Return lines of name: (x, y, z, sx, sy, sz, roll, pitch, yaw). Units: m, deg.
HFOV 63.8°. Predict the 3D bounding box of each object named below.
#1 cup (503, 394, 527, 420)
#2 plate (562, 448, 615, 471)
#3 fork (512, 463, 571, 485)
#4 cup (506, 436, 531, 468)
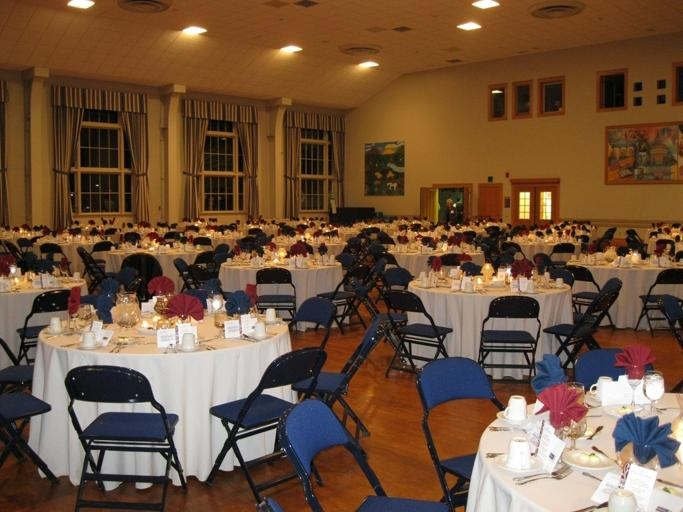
cup: (0.820, 0.707, 2.635, 0.129, 0.111, 0.082, -12, 16, -41)
plate: (1.002, 0.814, 2.231, 0.184, 0.045, 0.170, 0, 5, 26)
fork: (0.787, 0.848, 2.123, 0.286, 0.017, 0.074, -4, 5, -24)
cup: (0.704, 0.782, 2.207, 0.079, 0.095, 0.112, 1, 8, 9)
